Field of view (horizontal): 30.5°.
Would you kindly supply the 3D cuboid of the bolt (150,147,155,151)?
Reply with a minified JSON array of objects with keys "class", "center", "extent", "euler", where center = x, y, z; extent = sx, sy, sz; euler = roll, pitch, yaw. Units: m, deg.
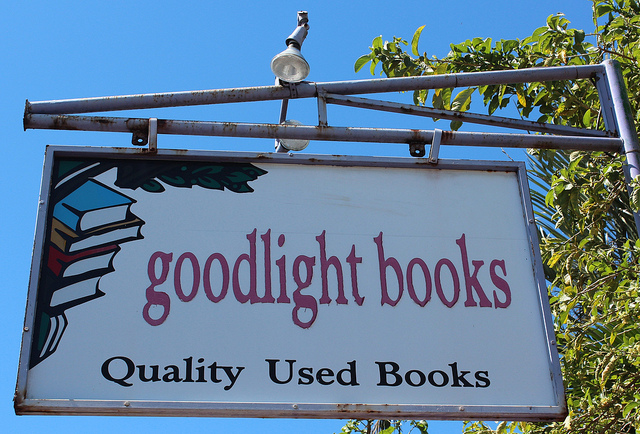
[{"class":"bolt","center":[-1.147,-0.458,8.001],"extent":[0.023,0.026,0.007],"euler":[0,-3,-10]}]

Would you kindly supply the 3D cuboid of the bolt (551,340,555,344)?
[{"class":"bolt","center":[1.549,0.828,7.780],"extent":[0.018,0.018,0.017],"euler":[0,-29,1]}]

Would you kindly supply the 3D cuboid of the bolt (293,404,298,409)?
[{"class":"bolt","center":[-0.159,1.208,7.509],"extent":[0.021,0.034,0.018],"euler":[0,6,8]}]

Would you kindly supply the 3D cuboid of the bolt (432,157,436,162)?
[{"class":"bolt","center":[0.790,-0.394,8.185],"extent":[0.020,0.019,0.018],"euler":[0,-34,0]}]

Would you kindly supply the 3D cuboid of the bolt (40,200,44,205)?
[{"class":"bolt","center":[-1.847,-0.092,7.781],"extent":[0.019,0.022,0.005],"euler":[3,-6,-10]}]

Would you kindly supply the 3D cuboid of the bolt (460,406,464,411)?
[{"class":"bolt","center":[0.916,1.234,7.580],"extent":[0.024,0.028,0.013],"euler":[3,-11,-11]}]
